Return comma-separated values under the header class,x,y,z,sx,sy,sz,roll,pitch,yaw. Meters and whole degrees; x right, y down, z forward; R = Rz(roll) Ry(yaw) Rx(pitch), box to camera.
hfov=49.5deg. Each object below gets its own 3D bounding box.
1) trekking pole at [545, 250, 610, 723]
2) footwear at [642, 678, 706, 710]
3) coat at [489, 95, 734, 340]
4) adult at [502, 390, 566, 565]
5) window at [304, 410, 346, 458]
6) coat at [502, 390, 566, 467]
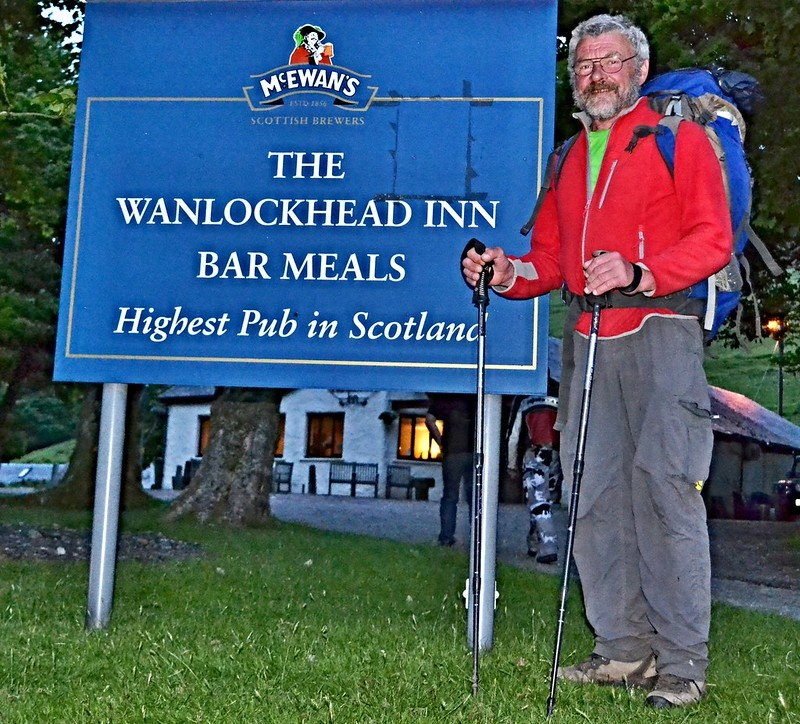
class,x,y,z,sx,sy,sz,roll,pitch,yaw
trekking pole,0.779,0.570,3.808,0.192,1.807,0.616,2,-8,12
footwear,1.200,1.454,3.790,0.286,0.122,0.103,21,-35,-35
coat,1.026,-0.666,4.131,0.739,1.313,1.267,2,0,-32
adult,1.487,1.284,9.505,0.590,1.666,0.604,0,-9,16
window,-2.732,2.734,32.459,1.543,1.883,0.132,-7,-13,33
coat,1.456,0.843,9.872,0.836,1.237,0.449,3,7,7
